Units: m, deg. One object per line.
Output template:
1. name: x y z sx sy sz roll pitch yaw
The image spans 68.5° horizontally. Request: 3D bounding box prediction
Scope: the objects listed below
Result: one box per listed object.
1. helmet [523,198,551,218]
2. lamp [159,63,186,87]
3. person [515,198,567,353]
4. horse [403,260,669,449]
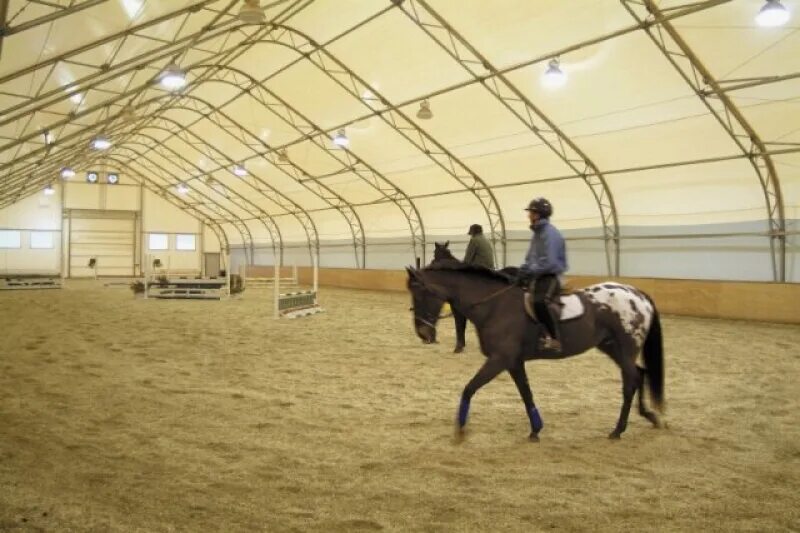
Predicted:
1. helmet: 1.987 -0.845 8.429 0.419 0.196 0.269 9 6 25
2. lamp: -5.364 -4.560 13.856 0.437 0.691 0.832 0 -1 -16
3. person: 2.000 0.099 8.279 0.644 2.131 0.342 -1 -1 13
4. horse: 2.001 1.209 8.511 4.293 2.106 0.963 7 -24 -16
